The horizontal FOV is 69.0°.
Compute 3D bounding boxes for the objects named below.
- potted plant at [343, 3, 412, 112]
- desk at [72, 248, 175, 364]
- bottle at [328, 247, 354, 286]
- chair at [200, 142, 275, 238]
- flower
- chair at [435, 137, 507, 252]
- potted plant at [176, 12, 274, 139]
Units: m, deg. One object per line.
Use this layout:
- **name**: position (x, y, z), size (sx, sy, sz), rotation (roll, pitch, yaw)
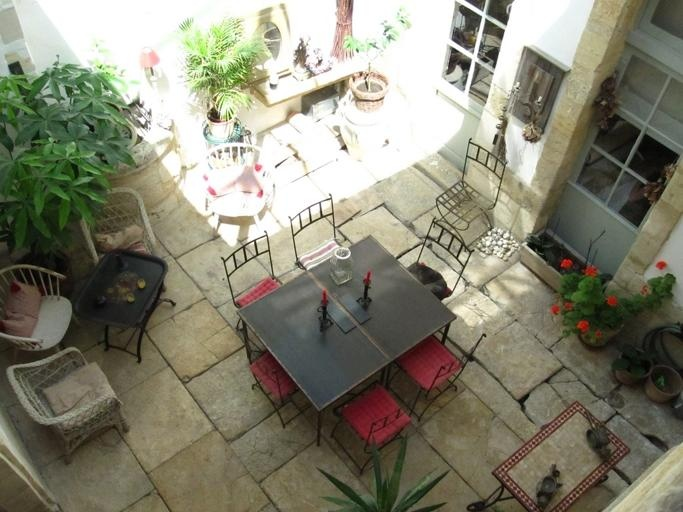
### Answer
- **potted plant**: position (0.588, -3.376, 8.314), size (0.773, 1.592, 1.034), rotation (-26, 60, -20)
- **desk**: position (-2.811, 0.673, 6.690), size (1.043, 0.898, 1.189), rotation (20, 51, 13)
- **bottle**: position (0.035, 0.128, 6.211), size (0.287, 0.425, 0.305), rotation (-1, 39, 1)
- **chair**: position (-1.606, -0.977, 8.380), size (1.337, 1.548, 1.376), rotation (-2, 68, -8)
- **flower**: position (3.433, 0.377, 6.509), size (1.292, 1.097, 0.962), rotation (-30, 55, 17)
- **chair**: position (2.268, -1.255, 7.964), size (0.685, 1.195, 0.815), rotation (22, 42, 14)
- **potted plant**: position (-1.806, -2.787, 7.495), size (0.825, 1.230, 0.930), rotation (32, 59, -2)
